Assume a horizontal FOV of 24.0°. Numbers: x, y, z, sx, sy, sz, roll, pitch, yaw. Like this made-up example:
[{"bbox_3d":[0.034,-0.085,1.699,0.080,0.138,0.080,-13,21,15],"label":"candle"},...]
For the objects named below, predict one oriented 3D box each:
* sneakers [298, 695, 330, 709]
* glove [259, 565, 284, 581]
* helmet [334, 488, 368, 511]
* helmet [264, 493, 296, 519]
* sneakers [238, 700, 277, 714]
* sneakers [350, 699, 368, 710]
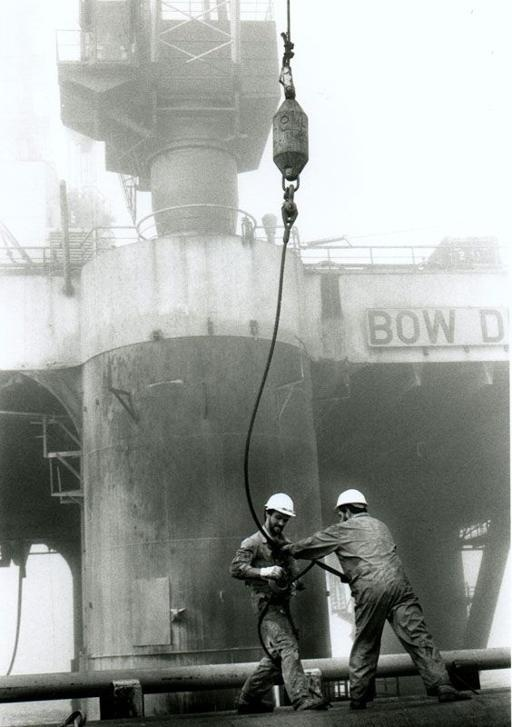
[{"bbox_3d":[0.658,3.963,14.102,0.374,0.171,0.295,0,5,12],"label":"sneakers"},{"bbox_3d":[0.178,2.446,14.295,0.199,0.098,0.168,5,-39,8],"label":"glove"},{"bbox_3d":[1.128,1.638,14.758,0.289,0.226,0.394,6,-6,-19],"label":"helmet"},{"bbox_3d":[0.262,1.700,14.881,0.301,0.223,0.392,20,-15,-20],"label":"helmet"},{"bbox_3d":[0.003,4.114,14.603,0.463,0.217,0.168,0,-9,-8],"label":"sneakers"},{"bbox_3d":[1.192,3.943,13.953,0.117,0.123,0.122,6,-19,-22],"label":"sneakers"}]
